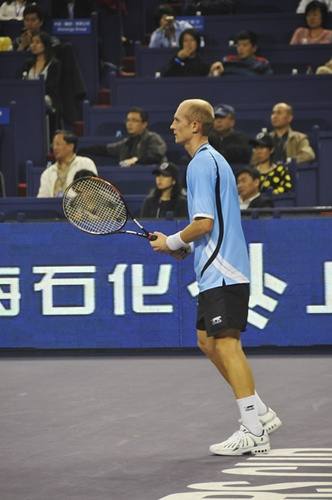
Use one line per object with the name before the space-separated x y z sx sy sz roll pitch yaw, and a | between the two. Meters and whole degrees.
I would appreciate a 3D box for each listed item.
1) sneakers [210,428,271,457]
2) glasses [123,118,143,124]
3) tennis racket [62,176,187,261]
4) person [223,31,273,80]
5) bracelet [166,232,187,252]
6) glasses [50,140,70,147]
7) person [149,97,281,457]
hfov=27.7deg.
sneakers | 0.374 0.966 3.385 0.351 0.155 0.120 -1 -12 -5
glasses | -0.433 -1.754 9.185 0.223 0.073 0.089 4 9 31
tennis racket | -0.322 -0.236 5.589 1.003 0.342 0.064 25 8 20
person | 1.304 -3.222 11.058 0.915 0.723 0.409 12 28 24
bracelet | 0.056 -0.043 3.499 0.078 0.079 0.099 -17 -11 5
glasses | -1.299 -1.323 8.368 0.142 0.050 0.100 4 -8 -13
person | 0.276 0.118 3.473 0.462 1.818 0.699 -6 10 -32
